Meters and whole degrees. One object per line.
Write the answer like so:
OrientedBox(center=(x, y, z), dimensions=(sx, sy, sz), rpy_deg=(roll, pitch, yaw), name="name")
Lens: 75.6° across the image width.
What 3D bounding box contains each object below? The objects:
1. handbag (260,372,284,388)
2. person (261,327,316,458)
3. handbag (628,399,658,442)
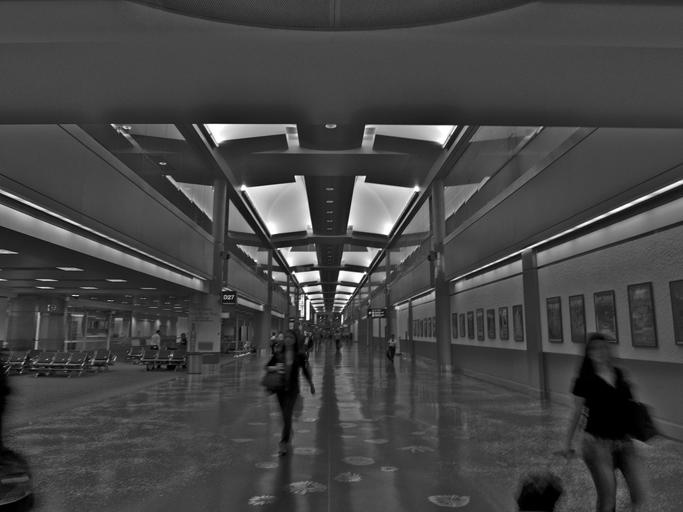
OrientedBox(center=(-1.047, 1.876, 6.621), dimensions=(0.344, 0.269, 0.156), rpy_deg=(-4, -14, 20), name="handbag")
OrientedBox(center=(-0.814, 2.036, 6.785), dimensions=(0.409, 1.780, 0.802), rpy_deg=(-8, -16, 37), name="person")
OrientedBox(center=(2.568, 1.412, 3.776), dimensions=(0.194, 0.344, 0.180), rpy_deg=(-5, -14, 25), name="handbag")
